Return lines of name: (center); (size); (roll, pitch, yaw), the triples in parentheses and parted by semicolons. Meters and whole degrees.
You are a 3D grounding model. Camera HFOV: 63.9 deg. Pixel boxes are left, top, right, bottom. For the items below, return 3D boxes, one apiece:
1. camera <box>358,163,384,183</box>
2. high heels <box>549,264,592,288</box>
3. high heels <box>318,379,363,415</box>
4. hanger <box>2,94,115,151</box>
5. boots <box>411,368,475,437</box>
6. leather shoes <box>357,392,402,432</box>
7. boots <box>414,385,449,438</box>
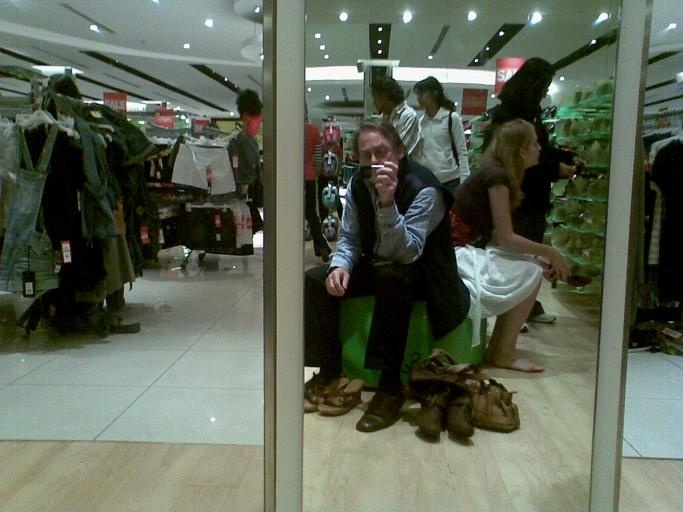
camera: (0.096, -0.275, 1.851); (0.065, 0.050, 0.050); (-5, 21, -6)
high heels: (0.775, 0.084, 1.851); (0.063, 0.037, 0.088); (-8, -24, -38)
high heels: (-0.001, 0.530, 2.018); (0.075, 0.083, 0.199); (-3, -7, 28)
hanger: (-1.199, -0.561, 2.296); (0.309, 0.121, 0.299); (25, 6, 32)
boots: (0.412, 0.557, 2.110); (0.223, 0.162, 0.405); (-10, 11, 17)
leather shoes: (0.142, 0.580, 2.050); (0.081, 0.081, 0.211); (7, 19, 29)
boots: (0.349, 0.577, 2.084); (0.114, 0.155, 0.369); (7, 8, 14)
